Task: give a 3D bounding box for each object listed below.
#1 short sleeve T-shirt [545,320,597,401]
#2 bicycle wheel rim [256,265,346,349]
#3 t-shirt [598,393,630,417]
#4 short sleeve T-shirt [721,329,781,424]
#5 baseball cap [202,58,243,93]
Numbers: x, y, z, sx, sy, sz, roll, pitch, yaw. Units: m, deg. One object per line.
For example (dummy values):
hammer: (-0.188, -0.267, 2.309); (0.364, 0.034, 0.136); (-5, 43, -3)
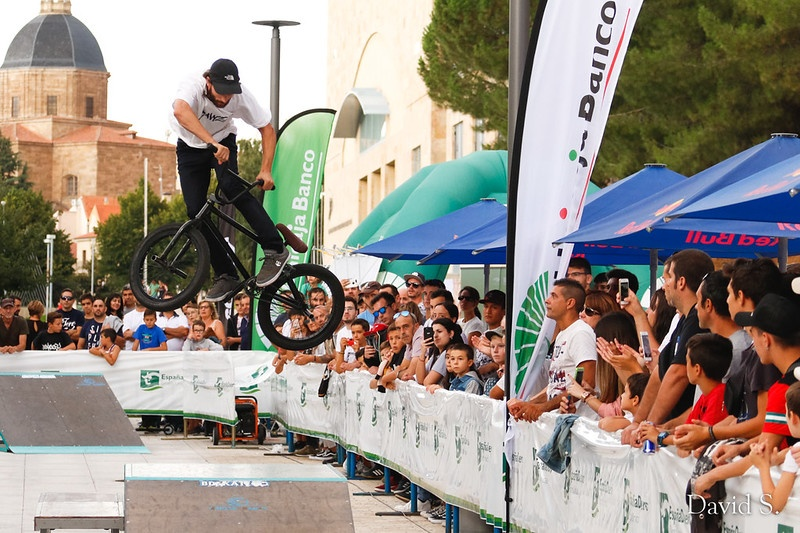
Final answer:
short sleeve T-shirt: (2.242, 1.233, 18.332); (0.359, 0.897, 0.976); (11, -7, -16)
bicycle wheel rim: (-1.485, 0.627, 21.328); (1.133, 1.118, 0.336); (-33, 30, -8)
t-shirt: (2.687, 1.787, 17.819); (0.323, 0.316, 0.130); (-6, -27, 38)
short sleeve T-shirt: (4.220, 1.405, 16.637); (0.720, 1.214, 1.285); (4, -6, 4)
baseball cap: (-2.361, -2.548, 18.957); (0.500, 0.481, 0.309); (2, 0, -8)
